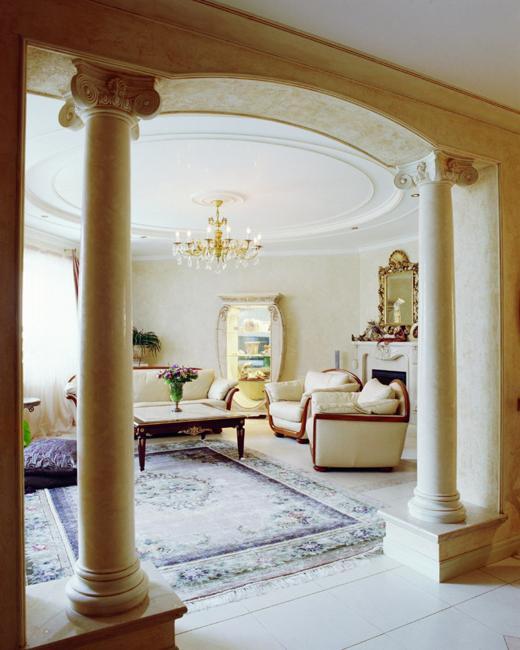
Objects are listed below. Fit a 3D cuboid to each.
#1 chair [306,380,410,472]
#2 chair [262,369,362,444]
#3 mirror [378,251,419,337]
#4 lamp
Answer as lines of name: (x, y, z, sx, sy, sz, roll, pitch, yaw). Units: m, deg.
chair: (1.030, 1.008, 5.766, 1.017, 0.817, 1.240, 1, 1, -3)
chair: (0.693, 0.998, 7.034, 0.973, 0.880, 1.175, 1, -2, -22)
mirror: (2.003, -0.478, 7.815, 0.244, 1.239, 0.802, 1, -1, -21)
lamp: (-0.556, -1.048, 6.874, 1.071, 0.660, 1.015, 0, -5, -2)
